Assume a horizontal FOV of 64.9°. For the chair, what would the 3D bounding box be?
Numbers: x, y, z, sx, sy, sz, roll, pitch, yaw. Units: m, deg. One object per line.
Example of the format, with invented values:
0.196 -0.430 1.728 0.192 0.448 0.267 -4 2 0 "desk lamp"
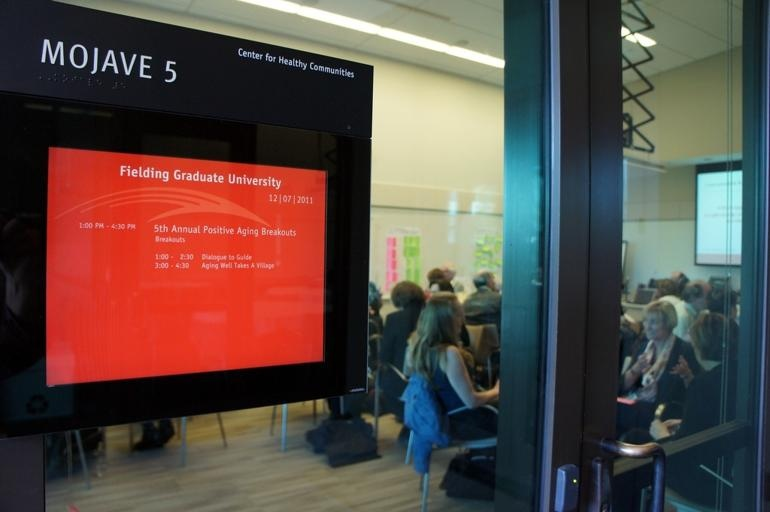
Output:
0.527 0.457 2.087 1.116 0.618 0.621 0 0 -16 "chair"
